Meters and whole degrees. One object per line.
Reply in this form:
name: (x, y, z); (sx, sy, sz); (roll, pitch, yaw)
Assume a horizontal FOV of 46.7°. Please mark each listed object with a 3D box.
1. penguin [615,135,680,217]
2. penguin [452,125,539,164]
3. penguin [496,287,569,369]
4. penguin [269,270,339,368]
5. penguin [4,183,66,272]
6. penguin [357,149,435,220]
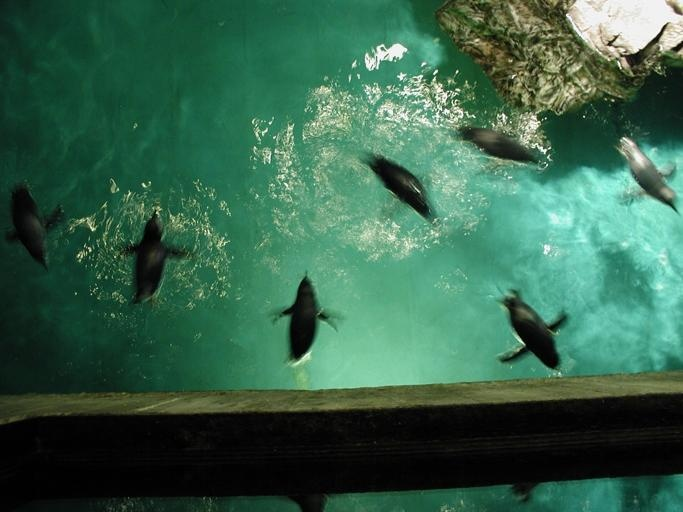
penguin: (2.384, -0.617, 6.256); (0.254, 0.382, 0.630); (-20, 49, -36)
penguin: (1.261, -0.876, 6.274); (0.704, 0.205, 0.182); (13, 37, -3)
penguin: (1.429, 0.534, 5.857); (0.386, 0.653, 0.440); (5, 11, 12)
penguin: (-0.277, 0.491, 6.052); (0.457, 0.672, 0.191); (10, 22, 12)
penguin: (-2.288, -0.223, 5.976); (0.412, 0.696, 0.468); (-3, 15, -25)
penguin: (0.451, -0.547, 6.026); (0.423, 0.464, 0.379); (2, 11, 4)
